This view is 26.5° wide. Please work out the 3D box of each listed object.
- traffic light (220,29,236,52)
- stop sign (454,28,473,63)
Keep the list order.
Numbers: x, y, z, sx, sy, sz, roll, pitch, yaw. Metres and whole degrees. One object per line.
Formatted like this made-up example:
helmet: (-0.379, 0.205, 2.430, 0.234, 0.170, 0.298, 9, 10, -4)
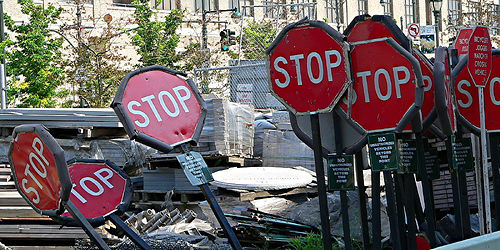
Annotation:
traffic light: (-1.000, -3.980, 50.152, 0.682, 0.992, 1.068, -4, 6, -1)
stop sign: (7.723, -2.807, 38.181, 0.173, 1.427, 1.294, -4, 7, -34)
